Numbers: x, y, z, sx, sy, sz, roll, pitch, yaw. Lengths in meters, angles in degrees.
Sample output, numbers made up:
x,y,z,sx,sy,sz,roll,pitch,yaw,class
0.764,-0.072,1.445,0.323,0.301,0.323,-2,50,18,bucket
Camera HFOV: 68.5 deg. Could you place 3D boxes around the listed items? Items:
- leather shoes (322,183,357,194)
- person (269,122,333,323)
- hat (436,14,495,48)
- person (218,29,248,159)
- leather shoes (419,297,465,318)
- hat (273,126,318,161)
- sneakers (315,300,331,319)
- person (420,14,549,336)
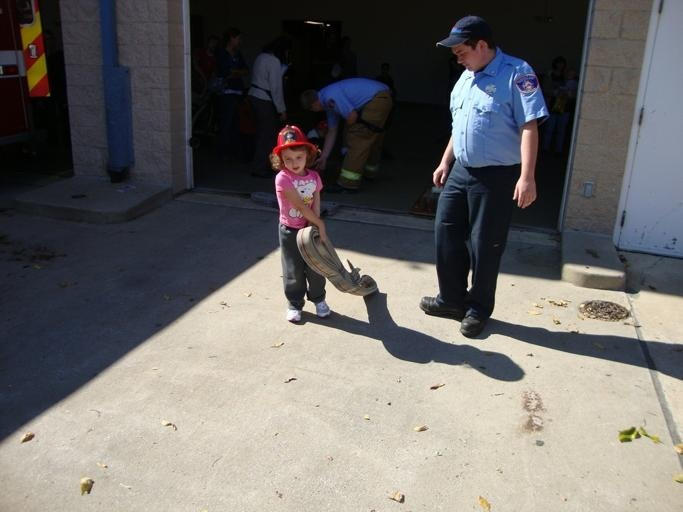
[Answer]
x,y,z,sx,sy,sz,roll,pitch,yaw,class
-0.021,-0.927,6.947,0.510,0.194,0.170,0,13,3,leather shoes
-0.287,-0.209,3.779,0.483,1.461,0.445,-1,23,-8,person
0.896,-1.539,3.476,0.404,0.213,0.256,-6,30,-8,hat
-1.898,-2.759,8.477,0.502,1.987,0.849,7,23,9,person
0.807,0.425,4.065,0.334,0.153,0.146,21,37,25,leather shoes
-0.337,-0.834,3.679,0.220,0.180,0.321,-20,4,5,hat
-0.148,0.425,4.000,0.068,0.074,0.167,-30,53,-8,sneakers
1.017,-0.521,3.658,0.497,2.227,0.833,-9,26,-27,person
